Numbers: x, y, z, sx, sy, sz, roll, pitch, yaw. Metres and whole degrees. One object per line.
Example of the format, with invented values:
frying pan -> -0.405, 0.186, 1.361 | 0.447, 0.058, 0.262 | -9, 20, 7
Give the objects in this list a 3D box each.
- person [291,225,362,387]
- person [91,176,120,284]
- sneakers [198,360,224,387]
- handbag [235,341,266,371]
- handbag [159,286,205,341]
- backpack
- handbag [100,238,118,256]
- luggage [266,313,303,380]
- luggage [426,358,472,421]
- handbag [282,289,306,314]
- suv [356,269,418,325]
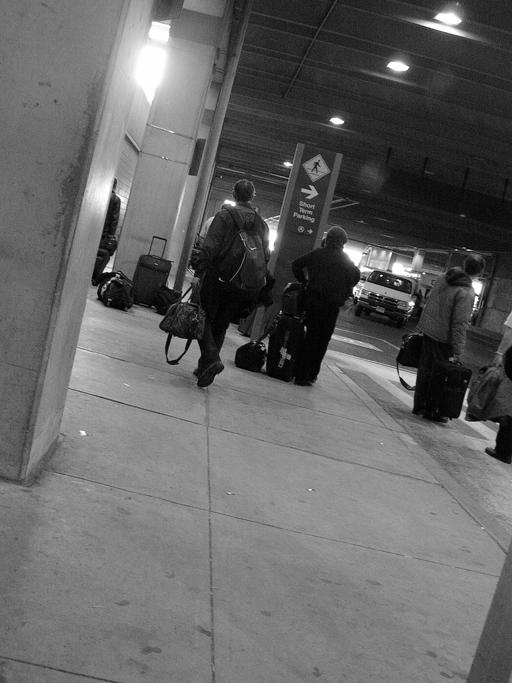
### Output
person -> 0.762, -0.453, 6.891 | 0.768, 1.948, 0.491 | 18, 5, 8
person -> -3.127, -2.141, 11.633 | 0.382, 1.780, 1.176 | 16, 5, -16
sneakers -> -0.438, 0.303, 5.243 | 0.119, 0.277, 0.100 | 22, -30, 49
handbag -> -0.088, 0.171, 7.136 | 0.363, 0.397, 0.415 | 19, 8, 11
handbag -> -0.681, -0.264, 5.225 | 0.360, 0.434, 0.574 | 15, 5, -19
backpack -> -0.054, -0.820, 5.052 | 0.507, 0.707, 0.341 | 13, 7, -44
handbag -> -3.115, -2.039, 11.762 | 0.371, 0.359, 0.287 | 9, 3, -16
luggage -> 0.351, 0.152, 7.170 | 0.474, 0.824, 0.562 | 12, -13, 2
luggage -> 2.287, 0.593, 6.621 | 0.427, 0.750, 0.207 | 19, 5, 17
handbag -> 0.463, -0.491, 6.869 | 0.295, 0.315, 0.200 | 18, 5, 8
suv -> 7.041, -2.432, 29.736 | 2.484, 1.943, 4.174 | 10, 1, 8
